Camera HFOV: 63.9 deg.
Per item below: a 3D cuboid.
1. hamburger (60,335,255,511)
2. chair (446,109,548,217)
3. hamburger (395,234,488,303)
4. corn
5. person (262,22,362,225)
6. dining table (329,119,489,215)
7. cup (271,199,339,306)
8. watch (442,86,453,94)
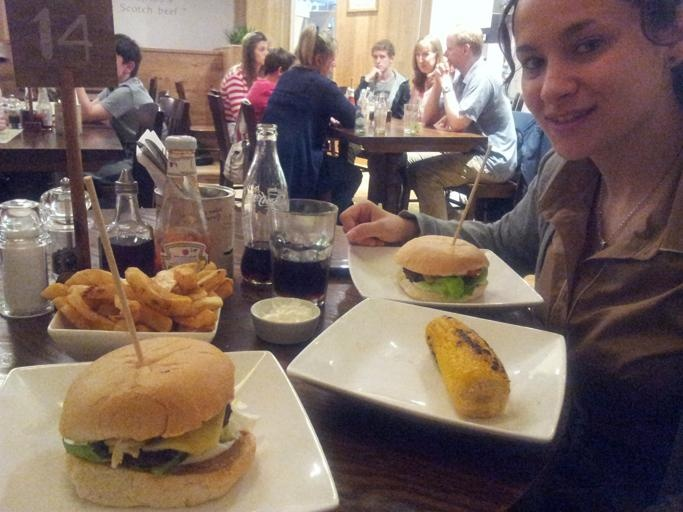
[{"bbox_3d":[-0.258,0.264,0.865,0.263,0.177,0.260,-15,21,-42],"label":"hamburger"},{"bbox_3d":[1.153,-0.870,4.227,0.400,0.605,0.410,15,23,-36],"label":"chair"},{"bbox_3d":[0.297,0.021,1.635,0.274,0.140,0.292,2,19,9],"label":"hamburger"},{"bbox_3d":[0.243,0.209,1.105,0.118,0.087,0.266,-3,25,-8],"label":"corn"},{"bbox_3d":[-0.193,-0.950,4.323,0.808,1.498,0.653,-3,28,-6],"label":"person"},{"bbox_3d":[0.474,-0.625,4.392,1.050,0.806,1.027,4,22,-7],"label":"dining table"},{"bbox_3d":[-0.101,-0.009,1.375,0.168,0.255,0.170,2,19,-1],"label":"cup"},{"bbox_3d":[0.884,-1.414,4.615,0.058,0.038,0.073,-5,41,9],"label":"watch"}]
